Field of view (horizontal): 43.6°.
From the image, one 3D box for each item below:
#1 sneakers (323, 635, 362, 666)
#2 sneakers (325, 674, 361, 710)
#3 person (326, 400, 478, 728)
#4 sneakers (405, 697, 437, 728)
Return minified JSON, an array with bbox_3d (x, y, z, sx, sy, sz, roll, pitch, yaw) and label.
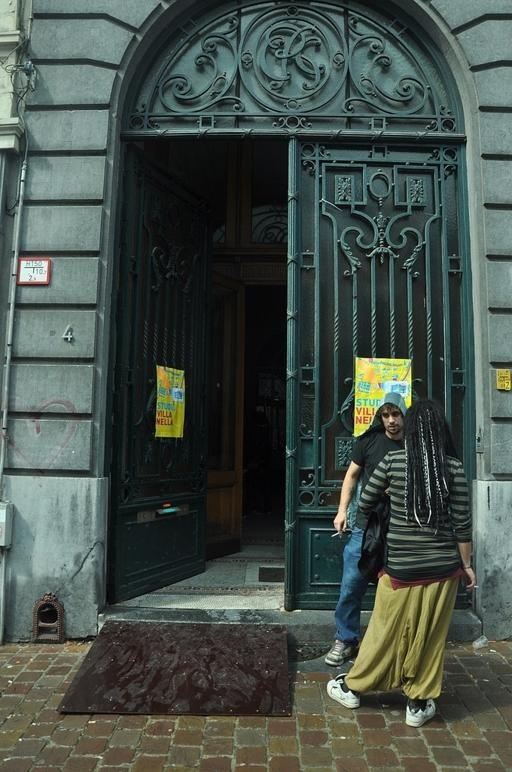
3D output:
[{"bbox_3d":[0.559,1.661,4.011,0.095,0.132,0.279,3,-7,40],"label":"sneakers"},{"bbox_3d":[0.455,1.609,3.361,0.080,0.100,0.208,2,5,-26],"label":"sneakers"},{"bbox_3d":[0.755,0.885,3.323,0.688,1.650,0.446,5,12,21],"label":"person"},{"bbox_3d":[0.813,1.617,3.155,0.077,0.095,0.199,-1,2,30],"label":"sneakers"}]
